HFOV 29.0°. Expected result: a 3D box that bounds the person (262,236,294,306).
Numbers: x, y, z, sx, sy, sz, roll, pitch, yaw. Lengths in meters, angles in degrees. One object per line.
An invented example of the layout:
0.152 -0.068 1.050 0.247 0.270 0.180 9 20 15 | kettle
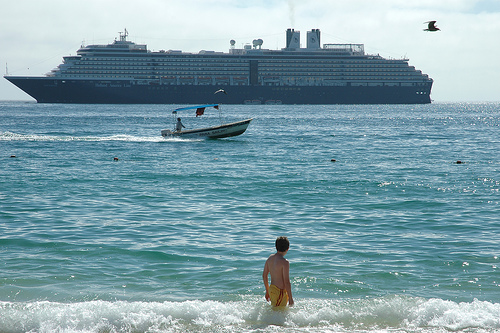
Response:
1.283 4.713 43.405 1.435 3.200 0.704 4 9 7 | person

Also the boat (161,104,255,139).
-3.729 -4.028 80.995 6.481 3.205 20.213 1 7 -3 | boat
